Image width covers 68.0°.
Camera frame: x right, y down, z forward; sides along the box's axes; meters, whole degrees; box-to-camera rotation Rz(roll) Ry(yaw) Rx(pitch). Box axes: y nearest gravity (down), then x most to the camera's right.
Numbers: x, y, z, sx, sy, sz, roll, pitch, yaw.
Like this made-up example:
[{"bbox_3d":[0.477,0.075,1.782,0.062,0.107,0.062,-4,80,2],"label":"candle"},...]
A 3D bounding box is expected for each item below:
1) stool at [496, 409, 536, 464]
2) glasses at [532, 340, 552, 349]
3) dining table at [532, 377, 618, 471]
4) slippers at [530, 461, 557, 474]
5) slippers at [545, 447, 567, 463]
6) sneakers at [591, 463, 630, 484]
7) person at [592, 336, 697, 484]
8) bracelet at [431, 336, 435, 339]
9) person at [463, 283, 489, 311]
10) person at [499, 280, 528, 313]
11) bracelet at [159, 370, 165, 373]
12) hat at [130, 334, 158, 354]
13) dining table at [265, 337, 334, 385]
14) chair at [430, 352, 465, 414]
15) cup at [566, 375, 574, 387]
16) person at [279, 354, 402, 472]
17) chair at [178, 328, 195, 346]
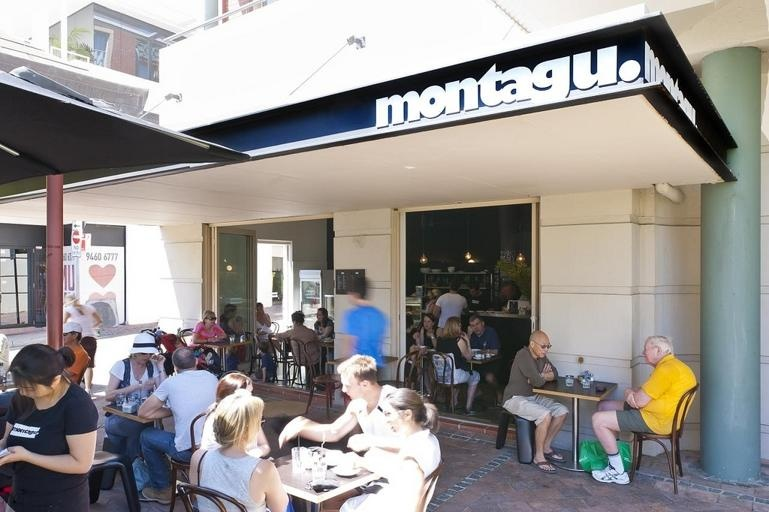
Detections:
[{"bbox_3d":[1.835,2.446,7.761,0.571,0.491,0.556,2,-3,39],"label":"stool"},{"bbox_3d":[2.071,1.195,7.616,0.173,0.050,0.168,11,-3,-35],"label":"glasses"},{"bbox_3d":[2.541,2.239,7.652,1.089,1.023,1.111,-2,-3,38],"label":"dining table"},{"bbox_3d":[2.031,2.695,7.267,0.289,0.088,0.182,2,4,14],"label":"slippers"},{"bbox_3d":[2.242,2.630,7.470,0.150,0.069,0.260,3,0,-39],"label":"slippers"},{"bbox_3d":[2.767,2.693,7.037,0.448,0.208,0.182,5,-1,14],"label":"sneakers"},{"bbox_3d":[3.147,1.894,6.943,1.133,1.780,0.426,2,5,19],"label":"person"},{"bbox_3d":[0.867,1.476,10.241,0.064,0.019,0.063,-1,2,-7],"label":"bracelet"},{"bbox_3d":[2.368,1.073,14.321,0.551,0.878,0.652,-11,-4,-12],"label":"person"},{"bbox_3d":[2.930,0.932,12.964,0.713,0.678,0.456,-3,-3,43],"label":"person"},{"bbox_3d":[-2.739,1.440,7.052,0.047,0.042,0.042,3,2,14],"label":"bracelet"},{"bbox_3d":[-2.952,1.072,6.941,0.295,0.158,0.274,2,0,40],"label":"hat"},{"bbox_3d":[-1.556,1.957,10.581,0.990,1.216,0.914,2,5,40],"label":"dining table"},{"bbox_3d":[1.000,2.032,9.232,0.487,0.976,1.201,1,4,8],"label":"chair"},{"bbox_3d":[2.484,1.688,7.620,0.107,0.114,0.107,2,-4,0],"label":"cup"},{"bbox_3d":[-0.407,1.564,5.844,1.223,0.920,0.641,0,2,-17],"label":"person"},{"bbox_3d":[-3.854,1.582,11.100,0.138,0.368,0.272,-3,-9,30],"label":"chair"}]
